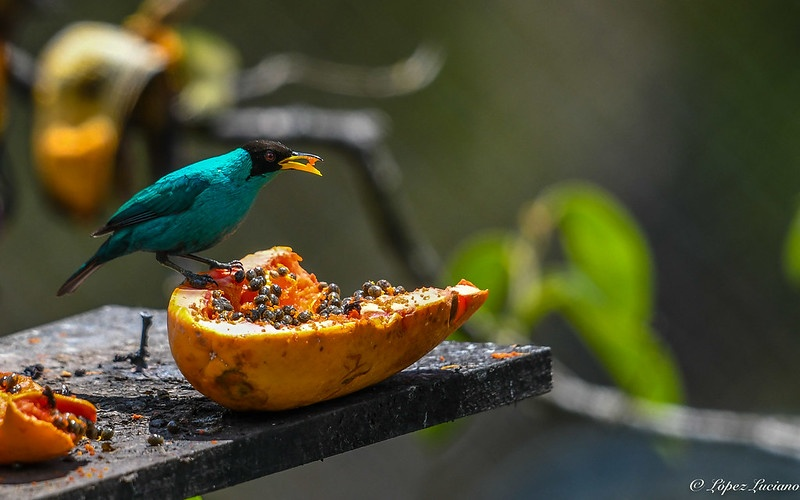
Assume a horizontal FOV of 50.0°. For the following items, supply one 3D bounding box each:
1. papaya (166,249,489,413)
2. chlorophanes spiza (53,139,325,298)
[{"bbox_3d":[-0.238,0.181,2.169,0.771,0.356,0.489,-6,5,-39],"label":"papaya"},{"bbox_3d":[-0.593,-0.101,2.445,0.740,0.434,0.257,2,11,3],"label":"chlorophanes spiza"}]
